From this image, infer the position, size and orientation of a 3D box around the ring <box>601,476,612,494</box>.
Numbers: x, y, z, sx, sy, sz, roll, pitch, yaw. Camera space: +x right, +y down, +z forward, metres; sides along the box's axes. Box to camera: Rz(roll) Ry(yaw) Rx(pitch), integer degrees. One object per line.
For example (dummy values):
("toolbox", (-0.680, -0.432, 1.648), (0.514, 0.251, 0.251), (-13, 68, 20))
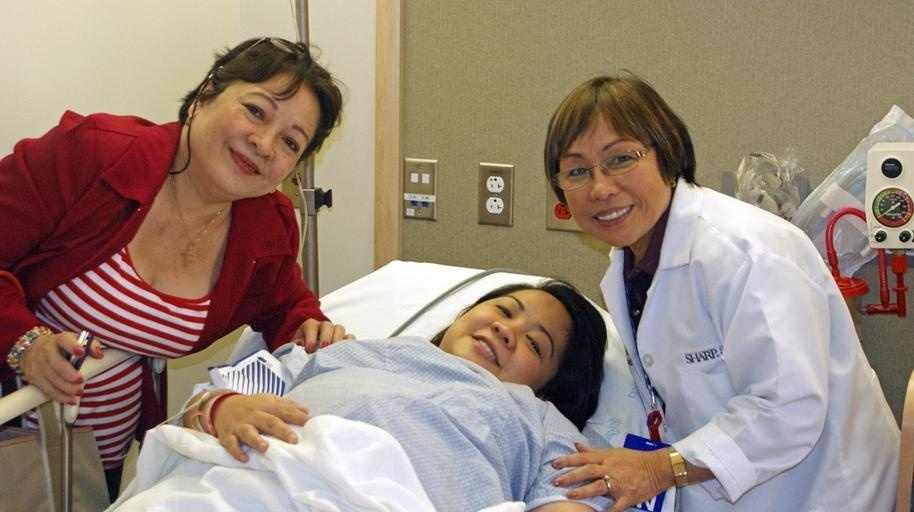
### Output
("ring", (0.485, 0.749, 2.300), (0.041, 0.050, 0.019), (-4, -8, -14))

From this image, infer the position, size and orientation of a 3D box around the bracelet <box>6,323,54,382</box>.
("bracelet", (-1.453, 0.321, 2.354), (0.066, 0.173, 0.146), (35, -26, -26))

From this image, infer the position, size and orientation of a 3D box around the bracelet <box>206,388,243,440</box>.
("bracelet", (-0.782, 0.516, 2.354), (0.036, 0.126, 0.125), (-2, -11, 37))

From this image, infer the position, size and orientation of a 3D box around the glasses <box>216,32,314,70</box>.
("glasses", (-0.732, -0.762, 2.650), (0.203, 0.057, 0.201), (-20, -2, 36))

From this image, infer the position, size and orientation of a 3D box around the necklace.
("necklace", (-1.017, -0.158, 2.697), (0.224, 0.368, 0.084), (2, 9, -21))

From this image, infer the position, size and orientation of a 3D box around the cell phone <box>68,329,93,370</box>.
("cell phone", (-1.214, 0.298, 2.282), (0.110, 0.106, 0.027), (29, 8, 38))
